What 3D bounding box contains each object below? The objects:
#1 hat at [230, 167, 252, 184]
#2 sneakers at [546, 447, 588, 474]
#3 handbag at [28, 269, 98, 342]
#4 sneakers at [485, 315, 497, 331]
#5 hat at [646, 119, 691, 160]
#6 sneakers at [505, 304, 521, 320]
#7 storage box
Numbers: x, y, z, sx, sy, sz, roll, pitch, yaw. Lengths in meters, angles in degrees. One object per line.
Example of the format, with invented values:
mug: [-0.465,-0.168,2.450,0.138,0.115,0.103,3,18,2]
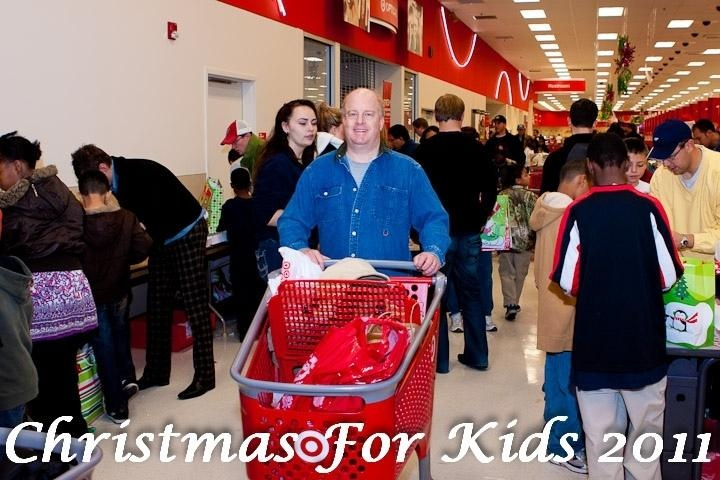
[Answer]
hat: [-1.234,-0.662,5.389,0.164,0.197,0.201,1,31,-4]
sneakers: [1.373,1.446,3.516,0.270,0.116,0.094,15,13,25]
handbag: [-1.966,0.425,3.421,0.287,0.380,0.538,4,8,35]
sneakers: [1.473,0.936,5.936,0.092,0.176,0.256,-2,-4,-6]
hat: [2.022,-0.687,3.488,0.319,0.175,0.208,-39,23,-7]
sneakers: [1.791,0.844,6.144,0.101,0.120,0.275,-3,-13,2]
storage box: [-2.033,0.933,5.359,0.458,0.312,0.630,-2,3,-12]
